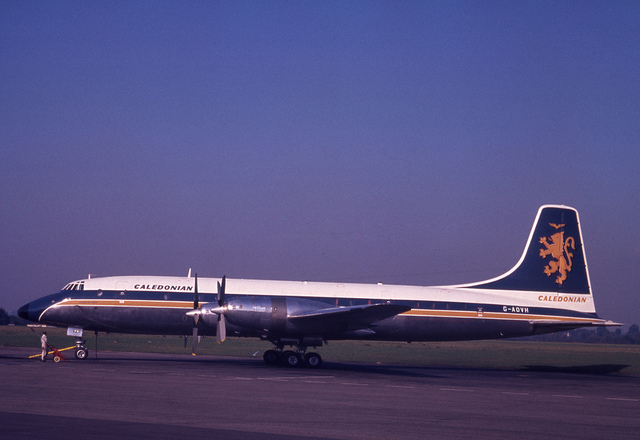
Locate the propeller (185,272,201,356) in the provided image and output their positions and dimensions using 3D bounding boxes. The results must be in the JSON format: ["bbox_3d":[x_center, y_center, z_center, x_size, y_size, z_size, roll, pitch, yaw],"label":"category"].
[{"bbox_3d":[-6.862,4.981,39.320,0.666,3.904,1.967,1,-16,-12],"label":"propeller"}]

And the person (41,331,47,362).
[{"bbox_3d":[-14.606,6.820,38.200,0.299,1.520,0.631,4,-17,-21],"label":"person"}]
